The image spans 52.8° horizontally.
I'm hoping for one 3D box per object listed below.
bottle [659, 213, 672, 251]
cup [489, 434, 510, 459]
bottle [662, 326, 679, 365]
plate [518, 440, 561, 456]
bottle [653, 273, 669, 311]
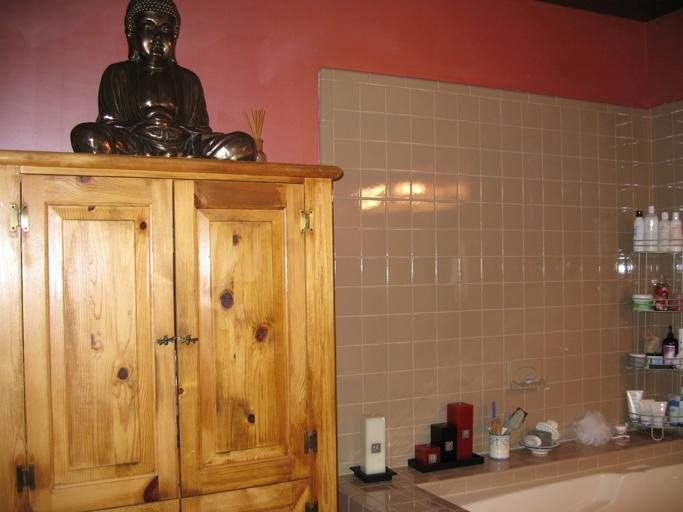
[{"bbox_3d":[1.954,-0.141,4.150,0.059,0.257,0.059,-3,0,0],"label":"bottle"},{"bbox_3d":[0.872,1.059,3.869,0.119,0.141,0.126,1,-3,0],"label":"cup"},{"bbox_3d":[1.983,0.539,4.148,0.091,0.249,0.112,-3,-1,33],"label":"bottle"},{"bbox_3d":[1.137,1.095,3.934,0.211,0.085,0.128,-3,-1,3],"label":"plate"},{"bbox_3d":[1.958,0.255,4.202,0.125,0.174,0.131,1,-5,0],"label":"bottle"}]
